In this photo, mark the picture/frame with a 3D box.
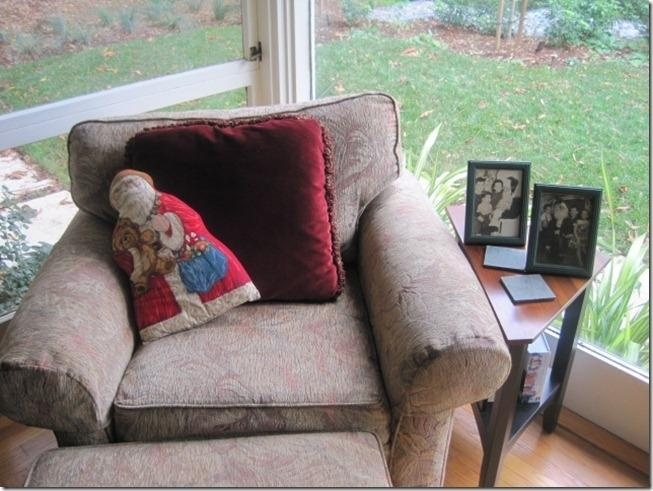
[{"bbox_3d":[0.630,-0.067,1.650,0.361,0.292,0.142,7,27,10],"label":"picture/frame"}]
